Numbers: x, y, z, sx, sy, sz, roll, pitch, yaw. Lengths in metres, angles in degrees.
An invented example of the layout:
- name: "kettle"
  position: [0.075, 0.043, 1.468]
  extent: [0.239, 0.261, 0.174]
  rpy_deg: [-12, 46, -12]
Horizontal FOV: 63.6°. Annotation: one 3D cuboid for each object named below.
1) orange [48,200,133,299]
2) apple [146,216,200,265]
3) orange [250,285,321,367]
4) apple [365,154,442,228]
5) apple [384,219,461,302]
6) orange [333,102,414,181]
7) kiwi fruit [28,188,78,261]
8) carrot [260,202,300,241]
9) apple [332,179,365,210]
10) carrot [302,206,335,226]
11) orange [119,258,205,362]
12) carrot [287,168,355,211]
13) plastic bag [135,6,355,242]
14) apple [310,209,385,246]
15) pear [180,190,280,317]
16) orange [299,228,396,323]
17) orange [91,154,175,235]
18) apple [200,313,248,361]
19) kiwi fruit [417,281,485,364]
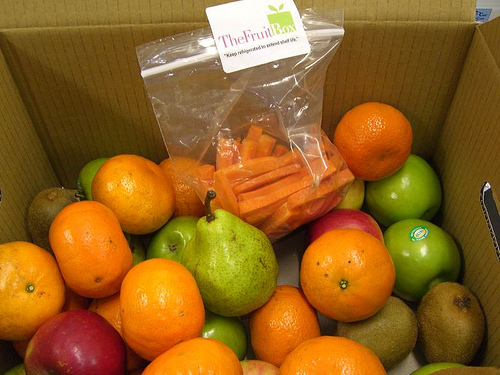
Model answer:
- name: "orange"
  position: [-0.310, 0.116, 0.865]
  extent: [0.129, 0.193, 0.156]
  rpy_deg: [-14, -2, 25]
- name: "apple"
  position: [-0.193, 0.130, 1.020]
  extent: [0.091, 0.118, 0.111]
  rpy_deg: [-1, 20, 6]
- name: "orange"
  position: [0.081, 0.291, 0.918]
  extent: [0.123, 0.158, 0.137]
  rpy_deg: [20, -2, -28]
- name: "apple"
  position: [0.392, 0.019, 1.058]
  extent: [0.179, 0.198, 0.169]
  rpy_deg: [5, 10, 16]
- name: "apple"
  position: [0.439, 0.178, 1.027]
  extent: [0.157, 0.172, 0.156]
  rpy_deg: [-5, 25, 16]
- name: "orange"
  position: [0.305, -0.118, 1.076]
  extent: [0.173, 0.182, 0.198]
  rpy_deg: [1, 33, 3]
- name: "kiwi fruit"
  position: [-0.460, 0.072, 1.015]
  extent: [0.121, 0.153, 0.119]
  rpy_deg: [-2, 33, -4]
- name: "carrot"
  position: [0.072, 0.079, 0.957]
  extent: [0.053, 0.109, 0.026]
  rpy_deg: [29, 28, -25]
- name: "apple"
  position: [0.267, 0.021, 1.079]
  extent: [0.047, 0.090, 0.065]
  rpy_deg: [14, 34, 19]
- name: "carrot"
  position: [0.171, 0.061, 1.005]
  extent: [0.050, 0.030, 0.043]
  rpy_deg: [-31, -3, 22]
- name: "orange"
  position: [-0.165, 0.217, 0.841]
  extent: [0.151, 0.228, 0.165]
  rpy_deg: [-20, -2, -11]
- name: "carrot"
  position: [0.170, -0.030, 1.007]
  extent: [0.168, 0.062, 0.038]
  rpy_deg: [-7, 27, 26]
- name: "plastic bag"
  position: [-0.006, -0.155, 0.989]
  extent: [0.410, 0.614, 0.275]
  rpy_deg: [-9, 37, -16]
- name: "apple"
  position: [0.246, 0.082, 0.980]
  extent: [0.120, 0.127, 0.117]
  rpy_deg: [-6, 34, -8]
- name: "pear"
  position: [-0.038, 0.154, 0.810]
  extent: [0.221, 0.337, 0.141]
  rpy_deg: [2, 34, 4]
- name: "orange"
  position: [0.205, 0.184, 0.858]
  extent: [0.195, 0.140, 0.132]
  rpy_deg: [5, 38, 11]
- name: "orange"
  position: [-0.274, 0.033, 0.986]
  extent: [0.191, 0.172, 0.187]
  rpy_deg: [16, 4, -35]
- name: "apple"
  position: [-0.050, 0.321, 0.928]
  extent: [0.087, 0.096, 0.102]
  rpy_deg: [-15, 33, 24]
- name: "kiwi fruit"
  position: [0.434, 0.304, 0.904]
  extent: [0.109, 0.186, 0.127]
  rpy_deg: [5, -12, 3]
